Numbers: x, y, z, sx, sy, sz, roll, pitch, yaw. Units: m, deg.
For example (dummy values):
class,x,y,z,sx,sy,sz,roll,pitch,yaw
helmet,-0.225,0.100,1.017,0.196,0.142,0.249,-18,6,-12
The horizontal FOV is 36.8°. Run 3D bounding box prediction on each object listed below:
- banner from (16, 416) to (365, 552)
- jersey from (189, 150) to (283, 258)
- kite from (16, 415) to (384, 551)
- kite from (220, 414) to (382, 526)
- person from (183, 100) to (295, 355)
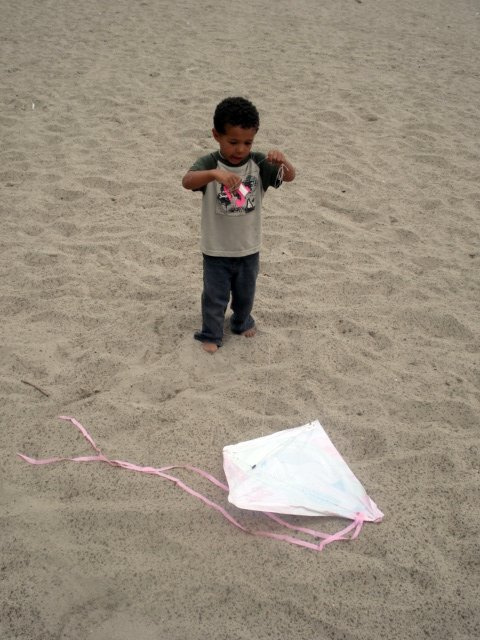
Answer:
class,x,y,z,sx,sy,sz,roll,pitch,yaw
banner,-0.296,0.716,2.920,1.632,0.114,0.452,16,18,11
jersey,-0.031,-0.504,3.216,0.382,0.476,0.153,-12,33,-26
kite,-0.123,0.677,2.941,1.323,0.106,0.517,11,28,8
kite,0.213,0.636,2.927,0.584,0.159,0.507,-4,27,-14
person,-0.011,-0.389,3.323,0.349,1.249,0.487,21,34,28
